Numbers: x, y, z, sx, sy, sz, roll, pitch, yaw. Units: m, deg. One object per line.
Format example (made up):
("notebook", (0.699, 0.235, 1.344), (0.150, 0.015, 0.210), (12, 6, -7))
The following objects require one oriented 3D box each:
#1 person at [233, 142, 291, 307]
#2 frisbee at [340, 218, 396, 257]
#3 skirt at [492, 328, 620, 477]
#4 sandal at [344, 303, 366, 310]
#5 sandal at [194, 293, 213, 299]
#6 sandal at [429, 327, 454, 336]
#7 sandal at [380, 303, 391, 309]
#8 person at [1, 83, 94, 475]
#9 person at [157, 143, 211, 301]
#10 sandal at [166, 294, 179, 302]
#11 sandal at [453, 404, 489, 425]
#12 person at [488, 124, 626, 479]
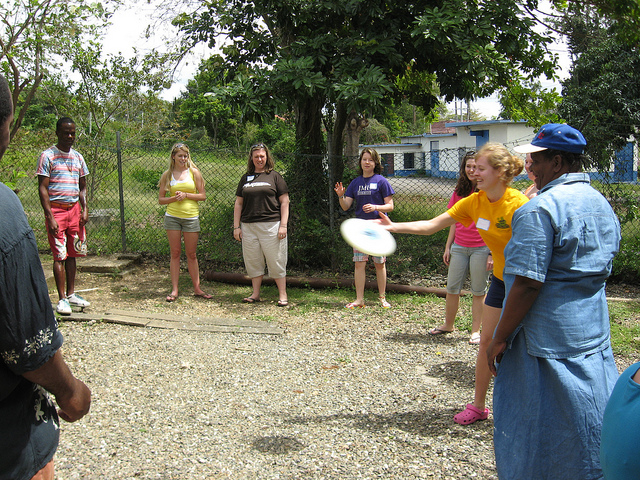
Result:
("person", (-0.726, -0.198, 7.941), (0.775, 2.002, 0.501), (3, 12, 5))
("frisbee", (0.408, -0.006, 5.391), (0.349, 0.308, 0.651), (-1, 12, -16))
("skirt", (1.649, 0.817, 4.430), (0.798, 1.473, 1.121), (-1, 0, 24))
("sandal", (0.443, 0.820, 7.878), (0.242, 0.065, 0.091), (1, -1, -17))
("sandal", (-1.507, 0.713, 8.173), (0.197, 0.055, 0.229), (-6, 14, -35))
("sandal", (1.323, 0.993, 6.906), (0.232, 0.056, 0.088), (0, 6, -3))
("sandal", (0.823, 0.817, 7.888), (0.132, 0.045, 0.159), (2, 11, -1))
("person", (-1.303, 0.211, 2.976), (0.380, 1.853, 0.378), (-2, 12, -21))
("person", (-1.715, -0.233, 8.003), (0.618, 1.984, 0.561), (-2, 12, -19))
("sandal", (-1.859, 0.719, 7.941), (0.094, 0.073, 0.187), (5, 12, 10))
("sandal", (1.181, 1.380, 4.947), (0.256, 0.114, 0.122), (-6, 8, -12))
("person", (1.439, 0.375, 3.819), (0.754, 2.113, 0.618), (6, 12, 15))
